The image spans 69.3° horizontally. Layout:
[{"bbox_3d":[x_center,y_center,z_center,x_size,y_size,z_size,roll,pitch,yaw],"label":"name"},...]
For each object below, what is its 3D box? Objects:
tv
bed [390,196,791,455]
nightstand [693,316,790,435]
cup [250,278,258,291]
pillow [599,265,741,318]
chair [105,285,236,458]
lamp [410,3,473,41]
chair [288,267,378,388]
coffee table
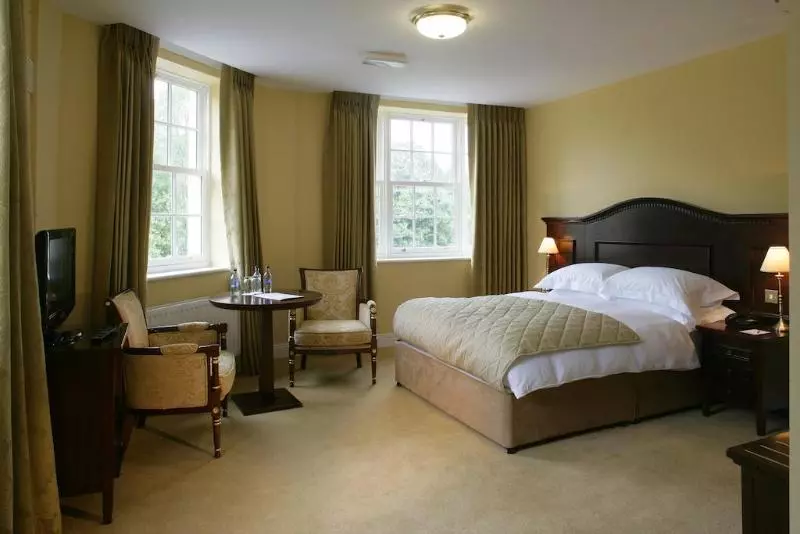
[{"bbox_3d":[-2.290,0.144,3.849,0.112,0.557,0.704,0,6,-19],"label":"tv"},{"bbox_3d":[1.797,0.426,5.487,2.361,1.746,2.629,-1,2,-24],"label":"bed"},{"bbox_3d":[2.873,0.919,4.913,0.717,0.783,0.397,10,17,37],"label":"nightstand"},{"bbox_3d":[-1.392,0.180,5.559,0.090,0.163,0.097,0,0,0],"label":"cup"},{"bbox_3d":[2.434,0.187,5.523,0.530,0.210,0.717,-26,20,-28],"label":"pillow"},{"bbox_3d":[-1.809,0.806,4.978,1.080,1.515,1.214,0,3,-9],"label":"chair"},{"bbox_3d":[0.357,-2.045,4.867,0.525,0.216,0.277,0,14,1],"label":"lamp"},{"bbox_3d":[-0.706,0.582,6.307,0.938,1.440,1.126,0,-5,-7],"label":"chair"},{"bbox_3d":[-1.261,0.742,5.469,0.943,1.022,0.990,0,0,-27],"label":"coffee table"}]
